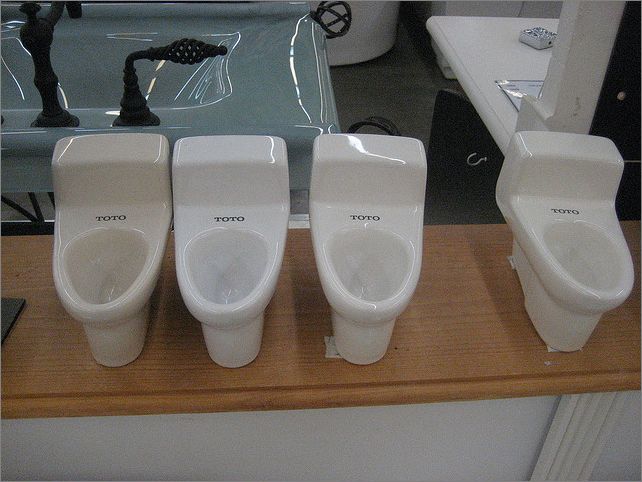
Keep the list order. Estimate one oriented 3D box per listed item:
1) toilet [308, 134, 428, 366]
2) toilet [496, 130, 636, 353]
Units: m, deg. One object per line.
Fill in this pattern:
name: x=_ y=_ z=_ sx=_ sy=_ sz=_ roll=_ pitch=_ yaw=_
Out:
toilet: x=0.085 y=0.027 z=0.920 sx=0.205 sy=0.247 sz=0.337 roll=2 pitch=65 yaw=-1
toilet: x=0.341 y=-0.013 z=0.939 sx=0.205 sy=0.254 sz=0.345 roll=0 pitch=56 yaw=1
